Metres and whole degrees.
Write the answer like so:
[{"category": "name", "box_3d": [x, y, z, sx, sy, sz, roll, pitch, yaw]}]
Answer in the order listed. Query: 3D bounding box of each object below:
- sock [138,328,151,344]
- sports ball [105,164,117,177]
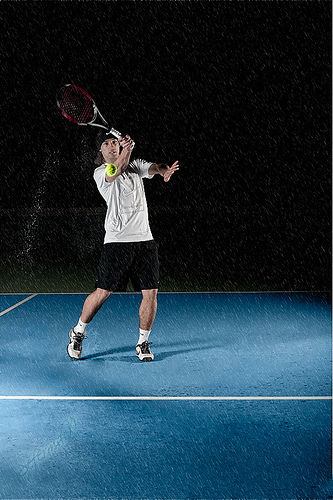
[{"category": "sock", "box_3d": [-0.183, 0.651, 3.130, 0.073, 0.147, 0.174, 3, -24, -9]}, {"category": "sports ball", "box_3d": [-0.390, -0.564, 2.889, 0.082, 0.086, 0.086, 9, 11, -2]}]
